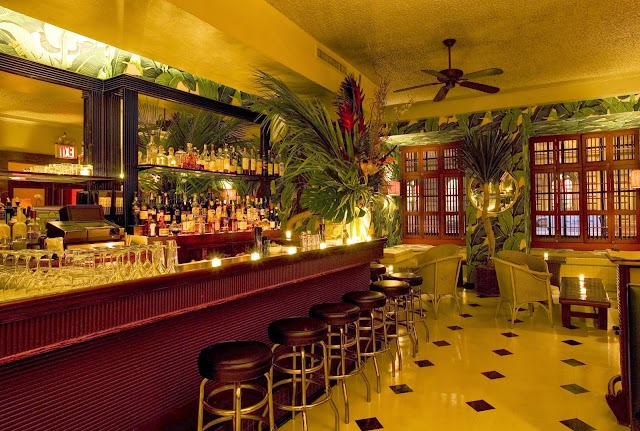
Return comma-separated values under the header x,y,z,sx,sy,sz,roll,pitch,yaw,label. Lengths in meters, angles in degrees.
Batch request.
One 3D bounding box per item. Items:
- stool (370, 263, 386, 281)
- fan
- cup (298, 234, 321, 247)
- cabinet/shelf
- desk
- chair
x,y,z,sx,sy,sz,roll,pitch,yaw,label
0.854,0.837,6.728,0.248,0.147,0.238,-1,-4,-1,stool
2.046,-2.202,6.719,1.548,0.657,1.575,1,1,-19,fan
-0.101,0.280,5.086,0.254,0.214,0.142,1,1,-27,cup
-1.685,-0.726,6.050,0.664,1.980,2.276,-3,-3,36,cabinet/shelf
4.234,1.360,7.309,0.710,0.440,1.886,1,4,28,desk
2.818,1.079,7.535,2.519,1.107,1.902,-2,7,-11,chair
